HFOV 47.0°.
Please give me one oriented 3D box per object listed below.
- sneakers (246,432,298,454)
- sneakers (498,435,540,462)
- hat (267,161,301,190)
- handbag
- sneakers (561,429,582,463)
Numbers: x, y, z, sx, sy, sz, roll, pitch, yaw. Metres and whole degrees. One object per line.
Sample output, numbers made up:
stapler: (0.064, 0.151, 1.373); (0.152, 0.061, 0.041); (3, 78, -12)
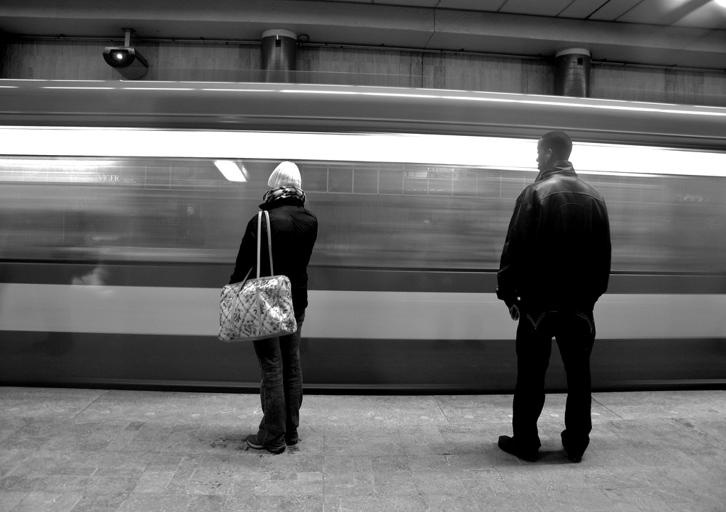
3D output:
sneakers: (-0.906, 1.869, 8.502); (0.475, 0.204, 0.204); (8, -7, 0)
sneakers: (1.546, 1.938, 8.499); (0.175, 0.185, 0.468); (-3, 12, -35)
hat: (-0.804, -0.829, 8.674); (0.254, 0.256, 0.337); (8, 0, -17)
handbag: (-1.056, 0.496, 8.374); (0.858, 0.674, 0.394); (-7, -7, 35)
sneakers: (2.083, 1.900, 8.376); (0.270, 0.264, 0.259); (-1, -4, 43)
